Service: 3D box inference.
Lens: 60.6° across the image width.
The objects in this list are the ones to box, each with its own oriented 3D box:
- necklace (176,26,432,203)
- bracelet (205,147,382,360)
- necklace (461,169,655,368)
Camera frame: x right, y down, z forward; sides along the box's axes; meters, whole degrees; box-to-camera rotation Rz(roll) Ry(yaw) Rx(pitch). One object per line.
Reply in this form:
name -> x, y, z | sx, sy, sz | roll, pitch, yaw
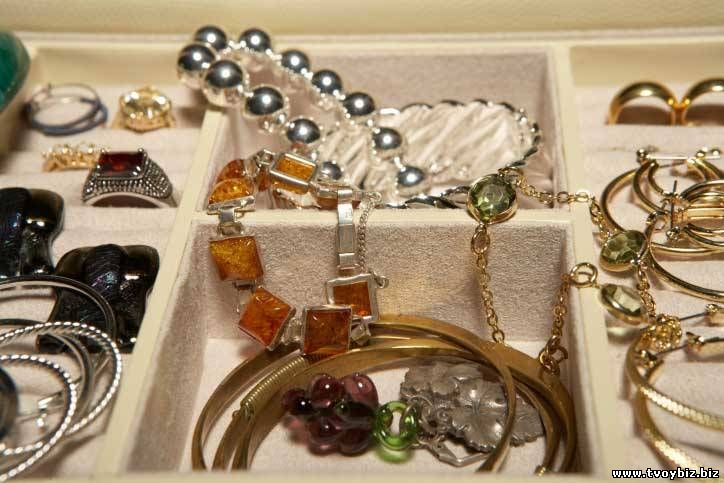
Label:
necklace -> -0.243, -0.310, 1.608 | 0.858, 0.177, 0.313 | 33, 40, 12
bracelet -> -0.158, 0.043, 1.328 | 0.388, 0.121, 0.460 | -2, 94, -5
necklace -> 0.393, 0.059, 1.396 | 0.449, 0.392, 0.279 | -3, 33, -4
